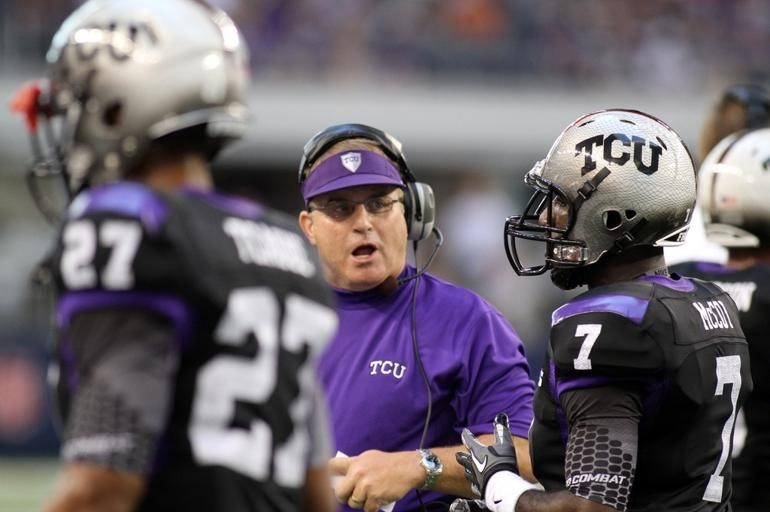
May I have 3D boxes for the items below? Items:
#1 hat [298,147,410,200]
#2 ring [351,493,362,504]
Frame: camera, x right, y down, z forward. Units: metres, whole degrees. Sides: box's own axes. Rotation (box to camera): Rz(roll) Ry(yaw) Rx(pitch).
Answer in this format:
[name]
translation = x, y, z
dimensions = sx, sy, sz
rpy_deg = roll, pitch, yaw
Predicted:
[hat]
translation = -0.136, -0.341, 5.229
dimensions = 0.436, 0.171, 0.471
rpy_deg = -10, -8, 4
[ring]
translation = -0.117, 1.000, 4.906
dimensions = 0.036, 0.014, 0.038
rpy_deg = 27, 1, 0
